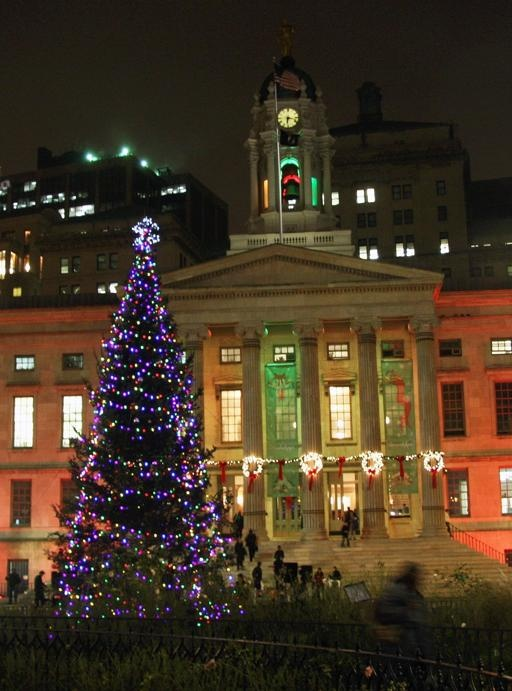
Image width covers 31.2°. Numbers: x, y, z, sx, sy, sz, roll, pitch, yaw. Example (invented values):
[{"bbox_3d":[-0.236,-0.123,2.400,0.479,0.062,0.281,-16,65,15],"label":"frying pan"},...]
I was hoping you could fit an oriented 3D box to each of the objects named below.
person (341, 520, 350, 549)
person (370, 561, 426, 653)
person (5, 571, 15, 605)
[{"bbox_3d":[3.913,8.260,40.484,0.407,1.037,0.893,-2,-12,3],"label":"person"},{"bbox_3d":[1.940,3.544,12.428,0.721,1.158,0.757,-3,-12,8],"label":"person"},{"bbox_3d":[-10.490,10.137,38.698,0.442,1.346,3.025,3,-11,-15],"label":"person"}]
